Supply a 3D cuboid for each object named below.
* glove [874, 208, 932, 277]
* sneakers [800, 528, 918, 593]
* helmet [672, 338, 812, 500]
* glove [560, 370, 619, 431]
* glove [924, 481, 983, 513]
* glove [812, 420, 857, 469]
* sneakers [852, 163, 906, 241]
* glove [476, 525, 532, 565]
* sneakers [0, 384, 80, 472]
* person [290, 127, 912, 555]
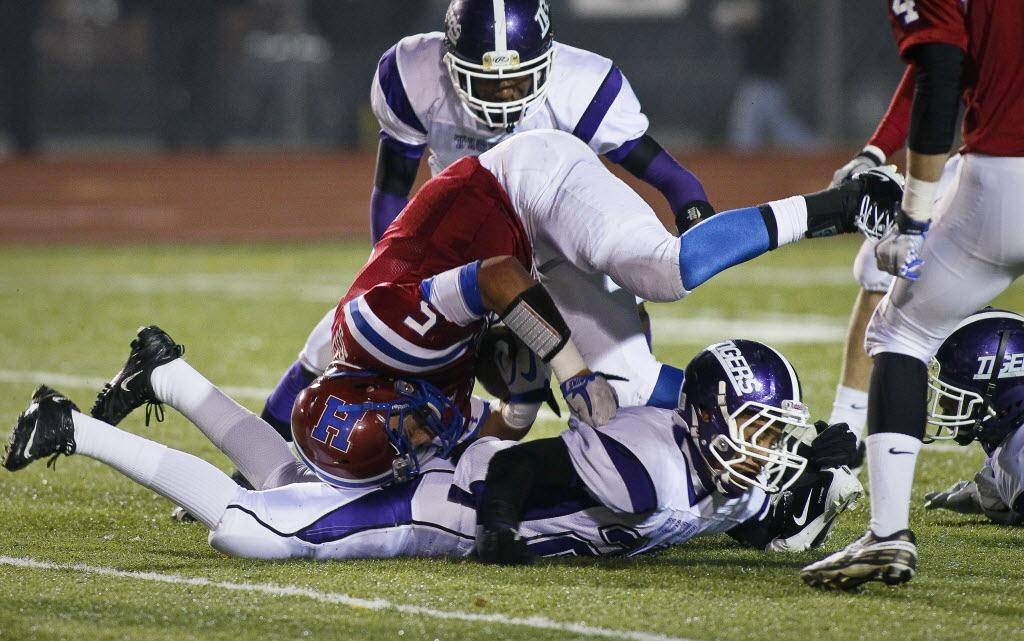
[{"bbox_3d":[1.305,-0.248,4.656,0.160,0.229,0.096,15,6,-31],"label":"glove"},{"bbox_3d":[1.182,0.801,4.652,0.439,0.225,0.160,-9,-3,10],"label":"sneakers"},{"bbox_3d":[0.801,0.314,4.827,0.494,0.529,0.397,19,16,33],"label":"helmet"},{"bbox_3d":[0.270,0.264,4.759,0.180,0.094,0.232,-19,60,-31],"label":"glove"},{"bbox_3d":[1.682,0.663,5.195,0.174,0.082,0.107,0,0,34],"label":"glove"},{"bbox_3d":[1.148,0.449,4.923,0.182,0.184,0.144,-1,0,10],"label":"glove"},{"bbox_3d":[1.285,-0.410,4.788,0.180,0.238,0.218,7,4,22],"label":"sneakers"},{"bbox_3d":[-0.035,0.766,4.769,0.191,0.157,0.150,-1,13,-1],"label":"glove"},{"bbox_3d":[-1.666,0.374,4.844,0.173,0.308,0.252,16,16,-29],"label":"sneakers"},{"bbox_3d":[0.477,-0.239,5.250,1.101,0.617,2.281,-1,28,14],"label":"person"}]
